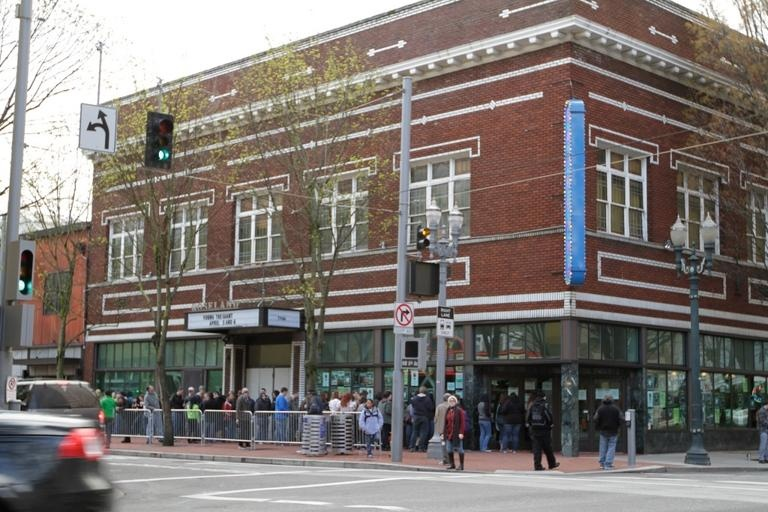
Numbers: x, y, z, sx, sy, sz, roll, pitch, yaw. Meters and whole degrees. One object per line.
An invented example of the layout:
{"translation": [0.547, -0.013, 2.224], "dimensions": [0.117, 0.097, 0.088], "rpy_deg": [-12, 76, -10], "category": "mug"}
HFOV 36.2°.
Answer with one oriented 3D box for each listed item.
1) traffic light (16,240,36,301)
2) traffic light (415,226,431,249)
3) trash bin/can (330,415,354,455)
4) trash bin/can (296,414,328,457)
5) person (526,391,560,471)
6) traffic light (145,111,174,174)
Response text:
{"translation": [-10.101, 0.332, 32.898], "dimensions": [0.434, 1.833, 0.877], "rpy_deg": [5, -14, -15], "category": "traffic light"}
{"translation": [1.348, -0.615, 40.238], "dimensions": [0.392, 0.915, 0.886], "rpy_deg": [0, -14, 6], "category": "traffic light"}
{"translation": [-1.555, 6.310, 41.805], "dimensions": [0.874, 1.446, 0.681], "rpy_deg": [4, -14, -11], "category": "trash bin/can"}
{"translation": [-2.511, 6.360, 41.480], "dimensions": [0.810, 1.449, 0.765], "rpy_deg": [0, -14, 6], "category": "trash bin/can"}
{"translation": [5.199, 5.787, 38.446], "dimensions": [0.997, 2.457, 0.877], "rpy_deg": [-1, -5, 1], "category": "person"}
{"translation": [-6.218, -3.193, 32.215], "dimensions": [0.715, 1.674, 0.487], "rpy_deg": [6, -14, -15], "category": "traffic light"}
